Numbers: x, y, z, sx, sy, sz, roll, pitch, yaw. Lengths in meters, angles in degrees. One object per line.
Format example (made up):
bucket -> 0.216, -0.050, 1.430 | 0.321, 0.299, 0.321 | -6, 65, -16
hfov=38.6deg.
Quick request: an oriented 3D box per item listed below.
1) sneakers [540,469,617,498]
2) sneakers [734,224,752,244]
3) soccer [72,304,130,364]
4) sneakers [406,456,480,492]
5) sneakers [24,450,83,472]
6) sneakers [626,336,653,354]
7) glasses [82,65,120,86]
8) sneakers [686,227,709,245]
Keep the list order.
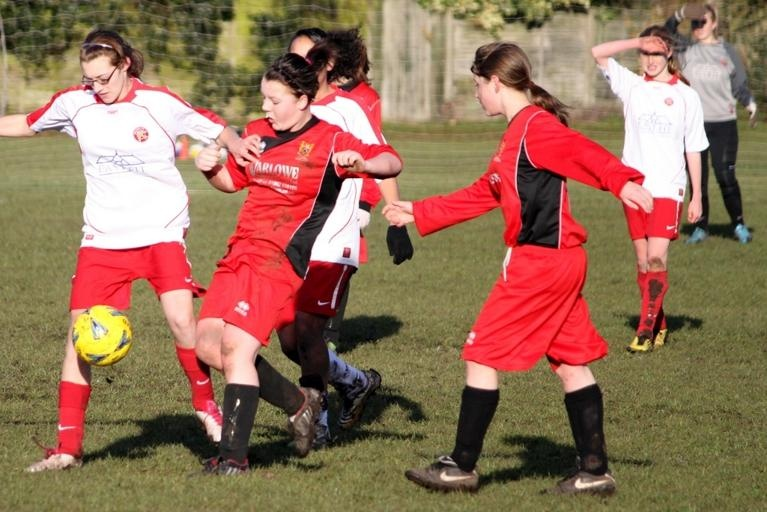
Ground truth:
sneakers -> 1.536, 1.782, 8.690 | 0.589, 0.222, 0.203 | 1, -4, -2
sneakers -> 4.780, -0.311, 14.571 | 0.169, 0.295, 0.135 | -30, -18, 8
soccer -> -2.325, 0.647, 9.006 | 0.458, 0.482, 0.299 | -4, 12, -16
sneakers -> 0.495, 1.752, 8.858 | 0.601, 0.270, 0.226 | 6, -4, 1
sneakers -> -2.676, 1.656, 8.880 | 0.319, 0.110, 0.188 | 2, -3, -7
sneakers -> 2.586, 0.876, 11.005 | 0.132, 0.117, 0.277 | -4, -4, 39
glasses -> -2.424, -1.502, 9.150 | 0.396, 0.163, 0.199 | 8, 14, 37
sneakers -> 4.158, -0.294, 14.576 | 0.137, 0.169, 0.414 | -1, 20, 45
